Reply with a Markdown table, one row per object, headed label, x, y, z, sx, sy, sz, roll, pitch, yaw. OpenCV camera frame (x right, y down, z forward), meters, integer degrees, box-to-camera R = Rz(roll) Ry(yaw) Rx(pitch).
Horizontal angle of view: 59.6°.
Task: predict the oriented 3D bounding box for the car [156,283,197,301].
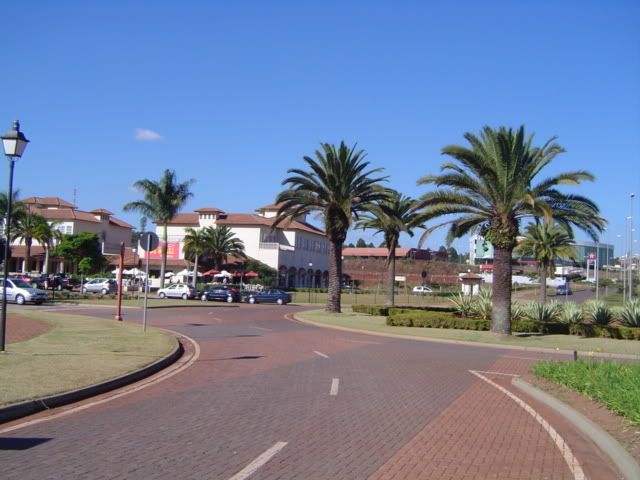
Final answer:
| label | x | y | z | sx | sy | sz | roll | pitch | yaw |
| --- | --- | --- | --- | --- | --- | --- | --- | --- | --- |
| car | -13.533 | 4.759 | 51.794 | 3.666 | 1.258 | 1.698 | 2 | -3 | 19 |

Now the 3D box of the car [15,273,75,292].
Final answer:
| label | x | y | z | sx | sy | sz | roll | pitch | yaw |
| --- | --- | --- | --- | --- | --- | --- | --- | --- | --- |
| car | -24.642 | 3.805 | 50.097 | 5.243 | 1.582 | 1.940 | -1 | -1 | 16 |

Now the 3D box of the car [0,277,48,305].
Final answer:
| label | x | y | z | sx | sy | sz | roll | pitch | yaw |
| --- | --- | --- | --- | --- | --- | --- | --- | --- | --- |
| car | -18.088 | 3.136 | 34.172 | 3.904 | 1.730 | 2.211 | -3 | -5 | 29 |

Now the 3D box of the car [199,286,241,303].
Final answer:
| label | x | y | z | sx | sy | sz | roll | pitch | yaw |
| --- | --- | --- | --- | --- | --- | --- | --- | --- | --- |
| car | -8.647 | 4.744 | 49.268 | 2.656 | 1.194 | 1.681 | 4 | -4 | 5 |

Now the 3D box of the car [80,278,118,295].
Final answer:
| label | x | y | z | sx | sy | sz | roll | pitch | yaw |
| --- | --- | --- | --- | --- | --- | --- | --- | --- | --- |
| car | -21.195 | 4.437 | 53.679 | 3.252 | 1.326 | 1.965 | 3 | 0 | 26 |
